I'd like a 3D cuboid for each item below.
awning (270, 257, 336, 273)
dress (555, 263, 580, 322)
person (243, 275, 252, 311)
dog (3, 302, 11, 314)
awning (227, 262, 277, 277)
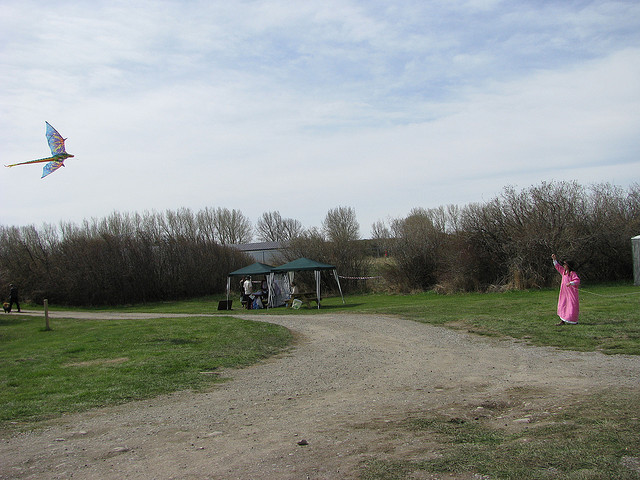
[{"bbox_3d":[-1.049,1.473,29.165,3.483,0.836,1.802,-7,-7,38],"label":"awning"},{"bbox_3d":[7.517,1.587,14.877,0.617,1.750,0.760,-6,-5,23],"label":"dress"},{"bbox_3d":[-4.528,3.421,30.803,0.400,1.760,1.004,-3,-4,-13],"label":"person"},{"bbox_3d":[-21.078,4.503,32.966,0.559,0.625,1.567,3,-14,-28],"label":"dog"},{"bbox_3d":[-4.144,1.784,30.590,2.353,0.728,2.290,-3,-5,-7],"label":"awning"}]
